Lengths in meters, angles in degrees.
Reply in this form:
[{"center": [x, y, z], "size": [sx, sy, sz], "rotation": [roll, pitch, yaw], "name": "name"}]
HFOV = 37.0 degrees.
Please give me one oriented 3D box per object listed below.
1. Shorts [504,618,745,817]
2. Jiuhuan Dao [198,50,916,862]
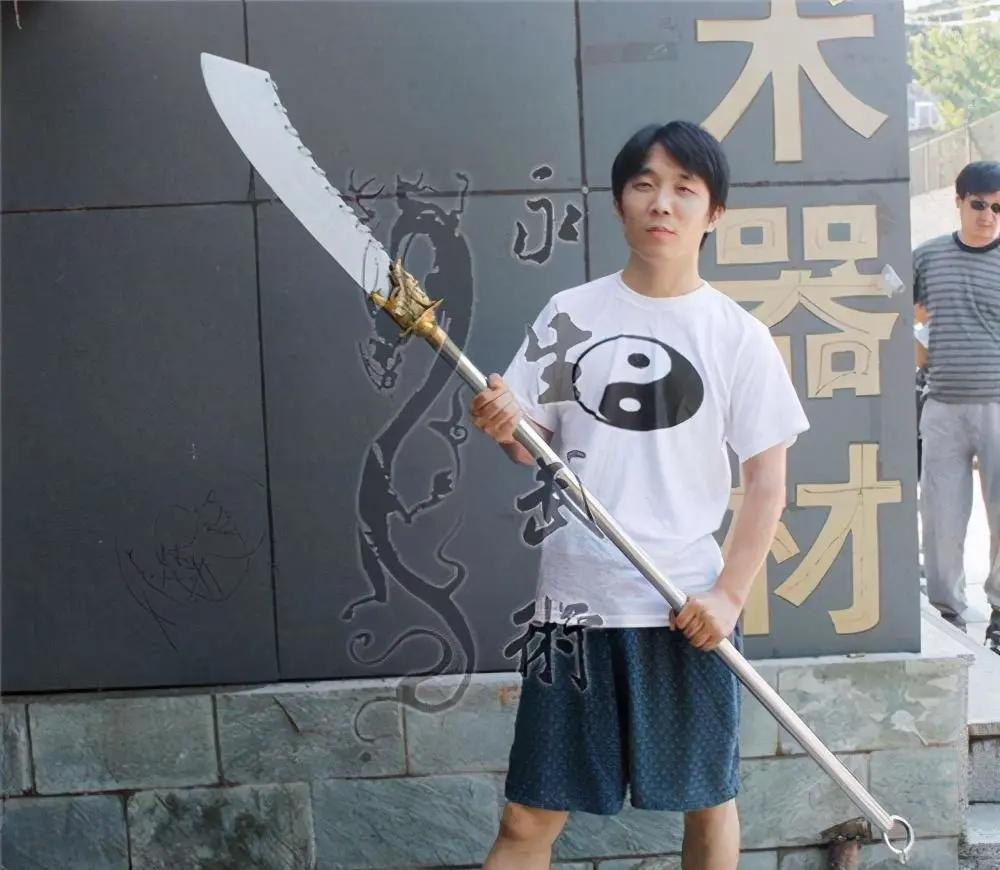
[{"center": [0.328, 0.844, 4.572], "size": [0.811, 0.853, 0.488], "rotation": [1, -6, -2], "name": "Shorts"}, {"center": [0.194, 0.005, 4.936], "size": [0.361, 3.366, 0.261], "rotation": [-39, 6, -6], "name": "Jiuhuan Dao"}]
